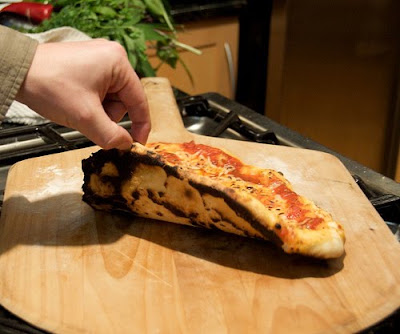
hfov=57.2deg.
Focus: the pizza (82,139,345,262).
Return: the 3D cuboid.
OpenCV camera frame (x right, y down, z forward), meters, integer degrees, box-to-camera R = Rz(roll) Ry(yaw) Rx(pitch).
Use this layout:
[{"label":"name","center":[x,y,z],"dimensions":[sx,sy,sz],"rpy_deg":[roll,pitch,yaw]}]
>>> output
[{"label":"pizza","center":[0.019,0.059,1.003],"dimensions":[0.651,0.171,0.304],"rpy_deg":[14,6,21]}]
